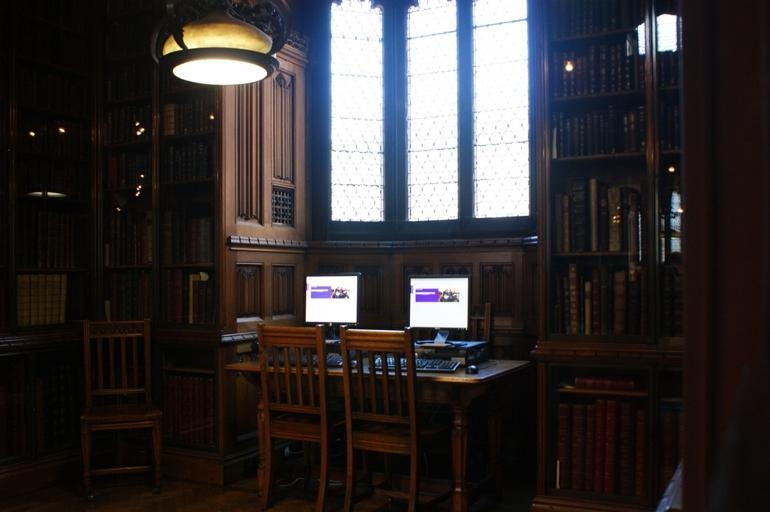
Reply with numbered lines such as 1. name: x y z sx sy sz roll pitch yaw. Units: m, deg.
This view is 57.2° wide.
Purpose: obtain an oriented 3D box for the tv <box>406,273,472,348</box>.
1. tv: 0.379 0.368 4.922 0.413 0.456 0.145 -3 -15 19

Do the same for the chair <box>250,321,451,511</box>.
1. chair: -0.262 1.010 4.496 1.218 1.181 0.570 -2 -1 25
